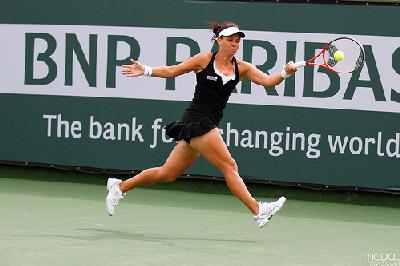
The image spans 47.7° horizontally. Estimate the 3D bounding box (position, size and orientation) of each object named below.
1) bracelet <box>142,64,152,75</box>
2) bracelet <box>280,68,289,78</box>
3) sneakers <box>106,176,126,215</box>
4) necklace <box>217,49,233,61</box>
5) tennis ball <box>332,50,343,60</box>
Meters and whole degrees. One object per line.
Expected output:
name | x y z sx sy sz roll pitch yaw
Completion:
bracelet | -0.639 -0.779 5.446 0.088 0.091 0.113 -1 -5 -2
bracelet | 0.984 -0.723 5.342 0.082 0.114 0.119 3 1 -6
sneakers | -1.098 0.781 5.791 0.235 0.573 0.184 -1 -8 15
necklace | 0.294 -0.954 5.444 0.189 0.124 0.129 4 1 0
tennis ball | 1.652 -0.946 5.492 0.113 0.121 0.112 14 25 -7
